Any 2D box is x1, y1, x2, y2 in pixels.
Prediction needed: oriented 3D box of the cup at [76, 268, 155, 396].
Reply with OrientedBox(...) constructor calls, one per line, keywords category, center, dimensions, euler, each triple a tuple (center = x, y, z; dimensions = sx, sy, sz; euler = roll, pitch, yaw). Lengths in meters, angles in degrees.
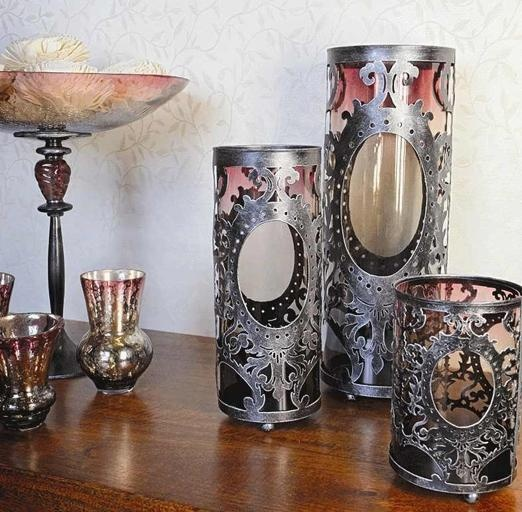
OrientedBox(category="cup", center=(-0.162, 0.088, 0.806), dimensions=(0.098, 0.153, 0.100), euler=(1, 15, 0))
